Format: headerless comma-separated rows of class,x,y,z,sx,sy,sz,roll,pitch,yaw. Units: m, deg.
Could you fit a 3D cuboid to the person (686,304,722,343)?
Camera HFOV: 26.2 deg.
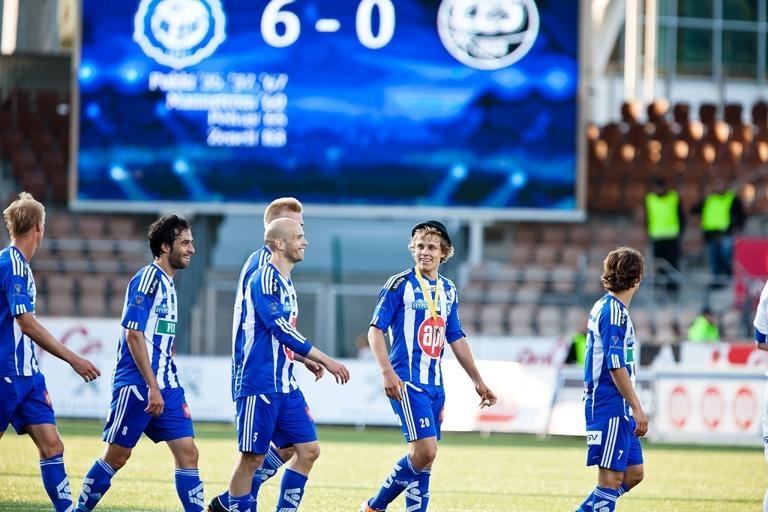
person,5.970,1.307,30.782,0.553,0.661,0.781,2,0,7

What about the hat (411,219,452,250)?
hat,0.696,-0.390,23.584,0.417,0.145,0.449,16,-28,12
